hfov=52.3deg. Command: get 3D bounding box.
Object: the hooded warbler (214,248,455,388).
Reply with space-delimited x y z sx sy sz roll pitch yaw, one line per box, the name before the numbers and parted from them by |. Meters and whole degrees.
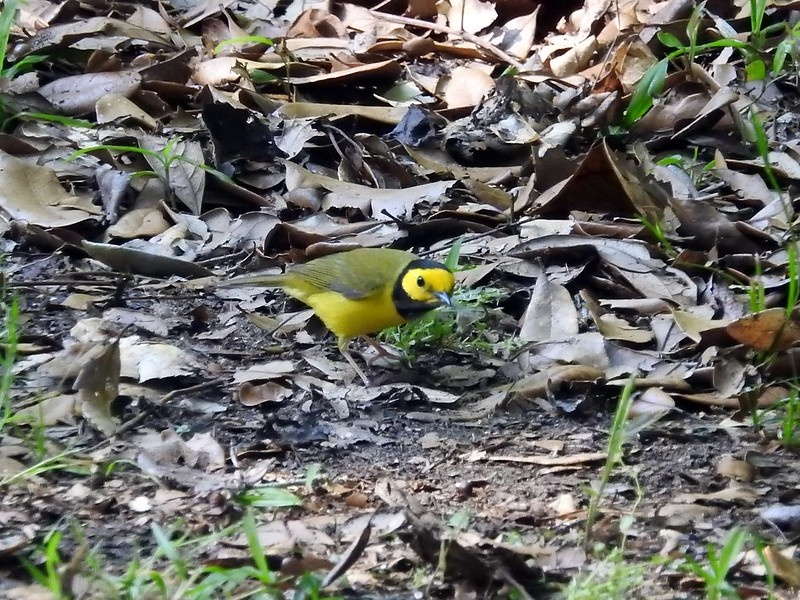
hooded warbler | -0.237 -0.082 4.734 0.747 0.404 0.810 -37 69 -19
